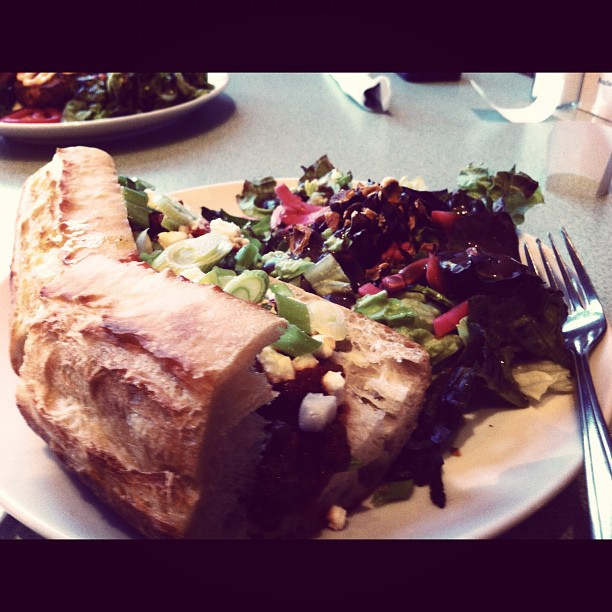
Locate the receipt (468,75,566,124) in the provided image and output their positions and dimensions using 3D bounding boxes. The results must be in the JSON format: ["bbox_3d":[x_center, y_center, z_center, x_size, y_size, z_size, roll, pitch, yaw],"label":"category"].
[{"bbox_3d":[0.335,-0.325,0.971,0.213,0.074,0.056,-8,30,-20],"label":"receipt"}]
